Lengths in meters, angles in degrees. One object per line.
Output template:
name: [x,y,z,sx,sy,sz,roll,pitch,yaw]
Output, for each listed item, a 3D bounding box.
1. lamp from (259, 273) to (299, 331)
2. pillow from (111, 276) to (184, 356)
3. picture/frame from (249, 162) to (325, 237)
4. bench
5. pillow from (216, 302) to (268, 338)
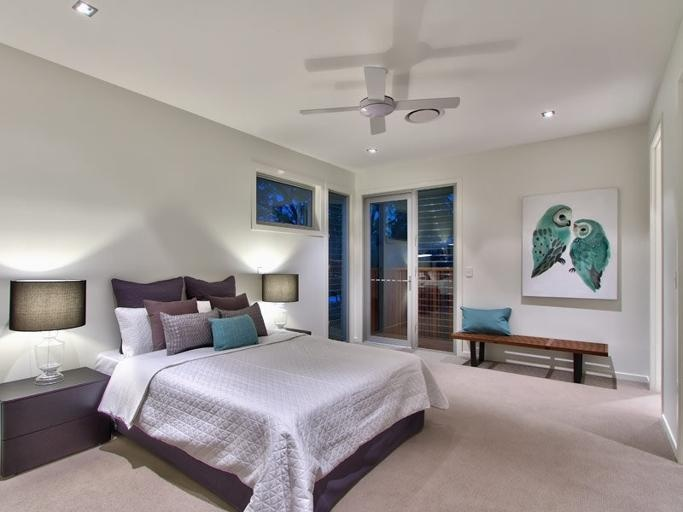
lamp: [-0.723,0.522,5.393,0.534,0.911,0.571,0,0,-17]
pillow: [-1.844,0.576,4.361,0.184,0.622,0.632,-21,-10,42]
picture/frame: [-0.703,-0.698,6.079,0.148,0.924,1.370,-2,-1,37]
bench: [2.280,1.196,5.519,1.631,0.518,0.573,-3,-1,34]
pillow: [-0.895,0.635,4.619,0.345,0.353,0.101,4,-17,-44]
